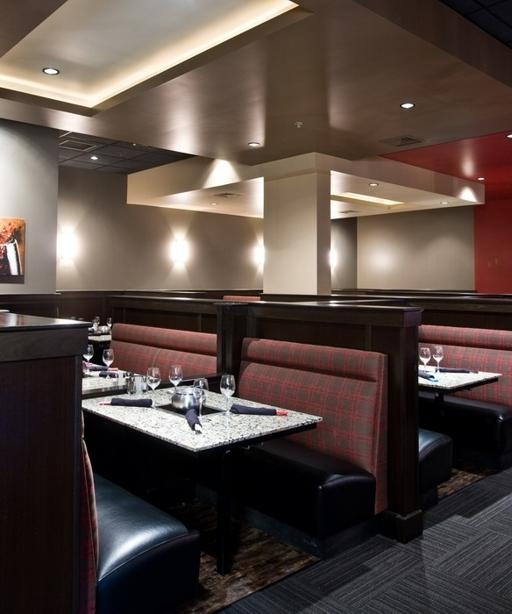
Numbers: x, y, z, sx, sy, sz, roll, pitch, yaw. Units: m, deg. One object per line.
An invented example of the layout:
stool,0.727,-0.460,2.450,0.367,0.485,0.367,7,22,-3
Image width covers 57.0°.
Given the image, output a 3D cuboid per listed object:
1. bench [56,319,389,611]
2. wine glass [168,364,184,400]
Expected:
bench,0.001,0.741,2.536,1.638,0.658,1.144,0,-2,44
wine glass,-0.481,0.420,2.789,0.062,0.178,0.292,1,0,-10
